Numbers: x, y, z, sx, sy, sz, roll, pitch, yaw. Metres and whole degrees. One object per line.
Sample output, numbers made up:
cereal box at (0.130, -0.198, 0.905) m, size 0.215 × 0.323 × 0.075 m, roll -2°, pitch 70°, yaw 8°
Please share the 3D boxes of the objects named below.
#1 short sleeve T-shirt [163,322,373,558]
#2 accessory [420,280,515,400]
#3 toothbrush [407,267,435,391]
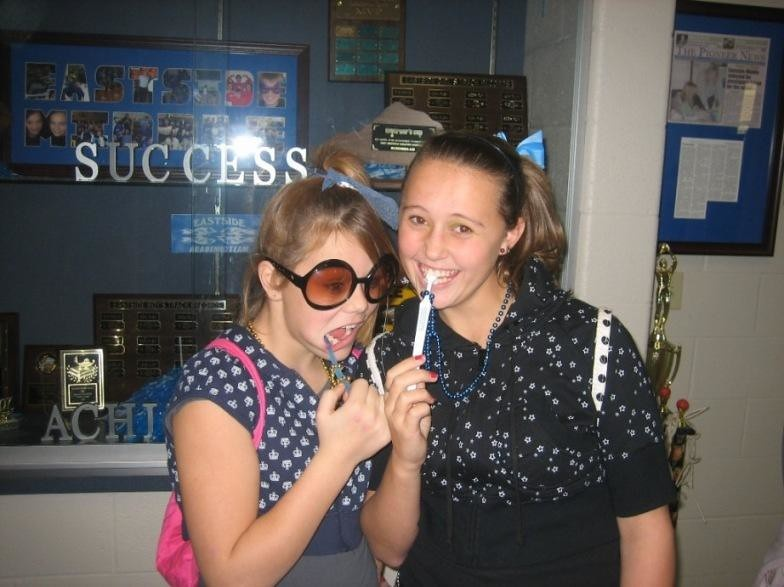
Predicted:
short sleeve T-shirt at (-0.349, 0.431, 2.122) m, size 0.602 × 0.660 × 0.218 m, roll -1°, pitch 2°, yaw -23°
accessory at (0.192, 0.154, 2.147) m, size 0.204 × 0.369 × 0.063 m, roll 4°, pitch -5°, yaw 28°
toothbrush at (0.093, 0.117, 2.102) m, size 0.054 × 0.389 × 0.053 m, roll 11°, pitch -7°, yaw 1°
